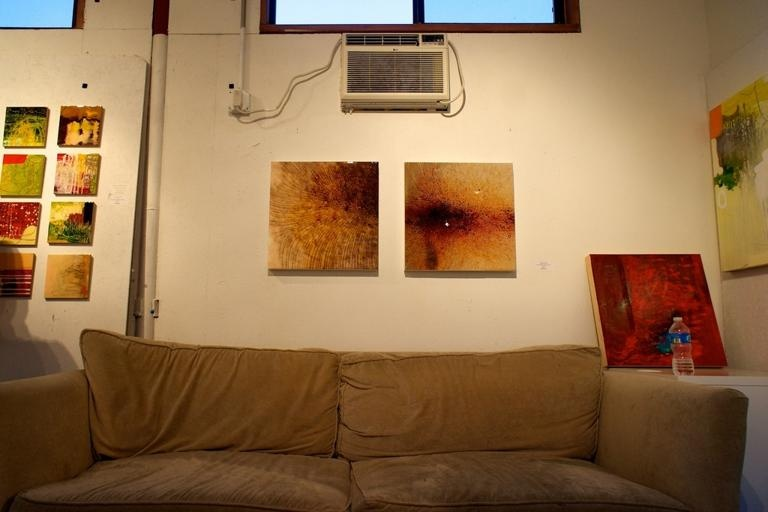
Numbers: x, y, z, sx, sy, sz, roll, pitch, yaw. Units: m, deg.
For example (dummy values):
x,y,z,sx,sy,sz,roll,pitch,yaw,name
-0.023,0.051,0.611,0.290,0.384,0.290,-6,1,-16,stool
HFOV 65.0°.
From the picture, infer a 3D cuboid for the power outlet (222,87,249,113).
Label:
x,y,z,sx,sy,sz,roll,pitch,yaw,name
-0.982,-1.048,4.009,0.147,0.150,0.152,-8,16,-33,power outlet
